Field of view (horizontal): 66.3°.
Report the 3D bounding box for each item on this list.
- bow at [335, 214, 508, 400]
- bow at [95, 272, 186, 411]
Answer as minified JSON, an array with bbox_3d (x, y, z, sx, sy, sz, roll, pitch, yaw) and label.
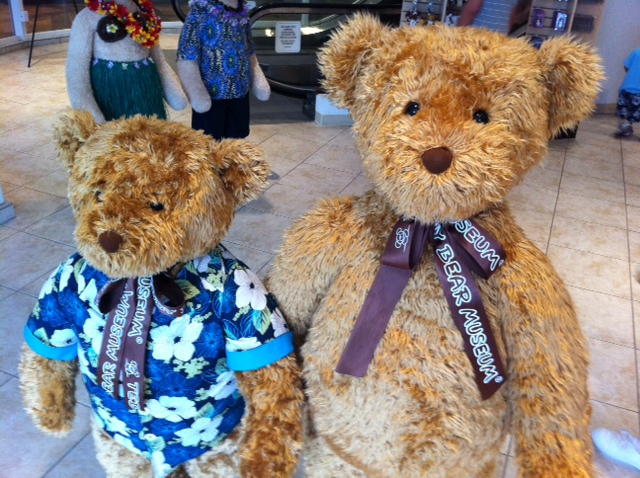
[{"bbox_3d":[0.267,0.133,1.242,0.498,0.443,0.125,12,-8,12],"label":"bow"},{"bbox_3d":[-0.491,0.284,1.349,0.255,0.413,0.200,-1,35,-7],"label":"bow"}]
